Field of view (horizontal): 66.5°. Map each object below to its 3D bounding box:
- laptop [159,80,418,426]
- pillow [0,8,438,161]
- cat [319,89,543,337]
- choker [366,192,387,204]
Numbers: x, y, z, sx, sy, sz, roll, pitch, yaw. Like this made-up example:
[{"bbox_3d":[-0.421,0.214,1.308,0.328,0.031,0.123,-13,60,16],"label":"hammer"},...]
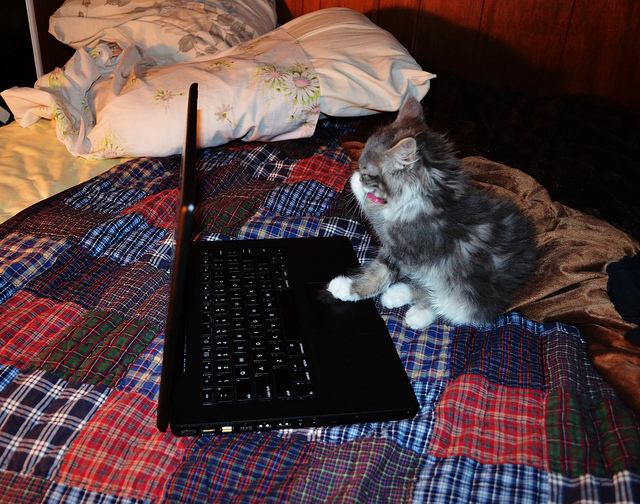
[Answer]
[{"bbox_3d":[-0.073,0.122,1.082,0.460,0.177,0.511,-3,53,-7],"label":"laptop"},{"bbox_3d":[-0.267,-0.541,1.641,1.069,0.176,0.730,-10,35,-8],"label":"pillow"},{"bbox_3d":[0.289,-0.085,1.234,0.426,0.433,0.277,13,41,21],"label":"cat"},{"bbox_3d":[0.145,-0.136,1.251,0.036,0.009,0.035,12,7,-45],"label":"choker"}]
